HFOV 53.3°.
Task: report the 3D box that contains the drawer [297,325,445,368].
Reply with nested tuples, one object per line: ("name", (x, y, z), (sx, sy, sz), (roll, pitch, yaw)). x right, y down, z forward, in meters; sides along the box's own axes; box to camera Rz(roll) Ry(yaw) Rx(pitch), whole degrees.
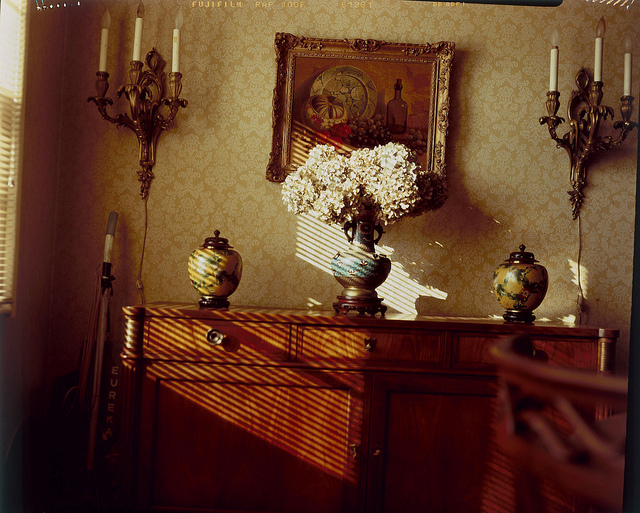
("drawer", (0.192, 0.350, 2.675), (0.506, 0.175, 0.364), (3, 4, -3))

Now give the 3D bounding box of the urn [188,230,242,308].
("urn", (-0.425, 0.067, 2.580), (0.167, 0.358, 0.184), (3, 4, -8))

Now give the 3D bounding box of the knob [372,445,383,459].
("knob", (0.222, 0.762, 2.477), (0.034, 0.043, 0.012), (13, -3, -10))

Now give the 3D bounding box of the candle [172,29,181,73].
("candle", (-0.622, -0.877, 2.741), (0.036, 0.148, 0.111), (7, 3, -18))

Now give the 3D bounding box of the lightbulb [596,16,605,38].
("lightbulb", (1.166, -0.950, 2.641), (0.030, 0.091, 0.046), (9, 2, 21))

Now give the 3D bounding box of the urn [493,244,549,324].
("urn", (0.837, 0.114, 2.665), (0.204, 0.355, 0.217), (2, -3, 28))

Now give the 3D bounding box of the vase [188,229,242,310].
("vase", (-0.439, 0.057, 2.666), (0.198, 0.342, 0.221), (2, -2, -2))

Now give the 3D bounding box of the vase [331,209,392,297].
("vase", (0.178, 0.003, 2.714), (0.229, 0.405, 0.250), (3, -10, -6))

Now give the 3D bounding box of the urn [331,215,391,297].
("urn", (0.176, 0.003, 2.715), (0.247, 0.402, 0.248), (9, -14, -33))
